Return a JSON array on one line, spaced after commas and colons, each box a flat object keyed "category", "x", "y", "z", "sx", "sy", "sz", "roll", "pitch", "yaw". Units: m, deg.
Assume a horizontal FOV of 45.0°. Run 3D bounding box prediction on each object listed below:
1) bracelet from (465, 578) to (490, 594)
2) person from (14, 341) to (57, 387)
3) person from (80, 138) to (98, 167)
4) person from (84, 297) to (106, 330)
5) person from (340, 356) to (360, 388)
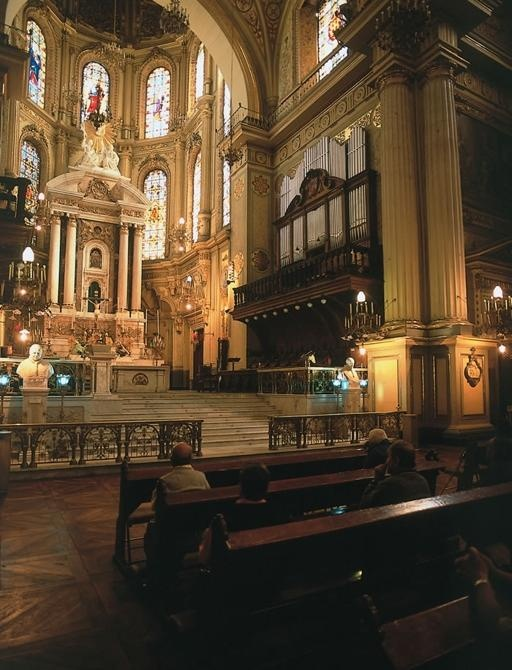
[{"category": "bracelet", "x": 0.807, "y": 0.912, "z": 2.254, "sx": 0.053, "sy": 0.015, "sz": 0.054, "roll": -14, "pitch": -18, "yaw": -9}, {"category": "person", "x": -3.526, "y": 0.514, "z": 9.850, "sx": 0.459, "sy": 0.735, "sz": 0.458, "roll": 0, "pitch": -5, "yaw": -12}, {"category": "person", "x": -5.783, "y": -6.316, "z": 21.497, "sx": 0.615, "sy": 1.206, "sz": 0.663, "roll": 1, "pitch": -6, "yaw": -15}, {"category": "person", "x": -5.329, "y": -0.679, "z": 20.316, "sx": 0.911, "sy": 1.307, "sz": 0.421, "roll": 7, "pitch": -23, "yaw": -30}, {"category": "person", "x": 1.894, "y": 0.778, "z": 12.575, "sx": 0.345, "sy": 0.636, "sz": 1.118, "roll": -2, "pitch": -5, "yaw": 7}]
